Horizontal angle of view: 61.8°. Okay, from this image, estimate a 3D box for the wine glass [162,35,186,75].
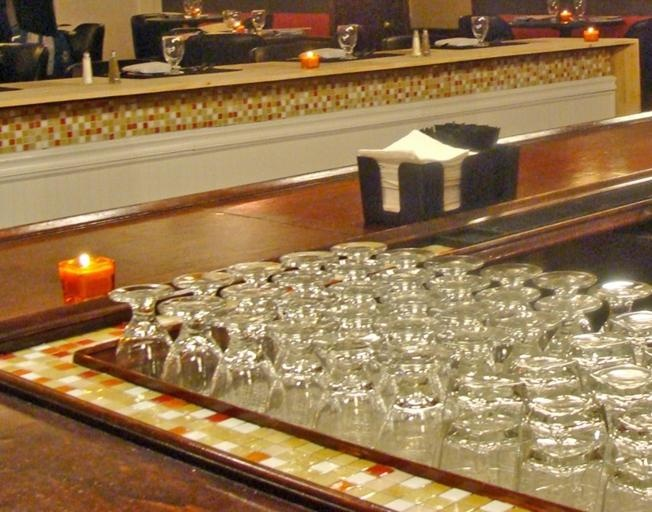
[{"bbox_3d":[-1.001,-1.338,3.614,0.140,0.244,0.228,-8,19,-12],"label":"wine glass"}]
